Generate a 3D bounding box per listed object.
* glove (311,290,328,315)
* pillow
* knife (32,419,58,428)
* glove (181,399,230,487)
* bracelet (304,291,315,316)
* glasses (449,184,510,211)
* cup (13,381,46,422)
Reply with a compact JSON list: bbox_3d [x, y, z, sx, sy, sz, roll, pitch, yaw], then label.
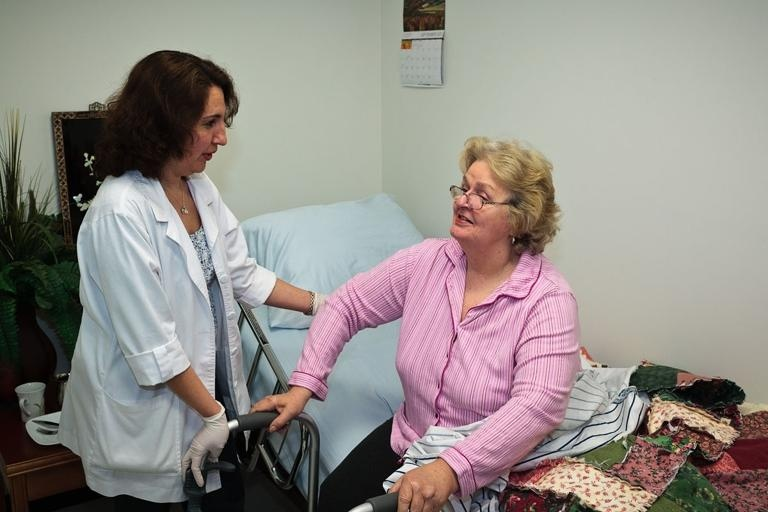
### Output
[{"bbox_3d":[-0.238,0.170,2.334,0.074,0.088,0.068,12,18,13],"label":"glove"},{"bbox_3d":[-0.258,0.039,3.203,0.741,0.223,0.658,-11,52,-29],"label":"pillow"},{"bbox_3d":[-1.383,0.683,2.475,0.062,0.008,0.013,21,48,-13],"label":"knife"},{"bbox_3d":[-0.579,0.624,2.050,0.159,0.298,0.089,15,13,18],"label":"glove"},{"bbox_3d":[-0.279,0.185,2.354,0.036,0.074,0.063,5,-5,-21],"label":"bracelet"},{"bbox_3d":[0.309,-0.179,1.912,0.173,0.059,0.061,7,16,25],"label":"glasses"},{"bbox_3d":[-1.463,0.618,2.504,0.089,0.131,0.135,-1,9,-13],"label":"cup"}]
